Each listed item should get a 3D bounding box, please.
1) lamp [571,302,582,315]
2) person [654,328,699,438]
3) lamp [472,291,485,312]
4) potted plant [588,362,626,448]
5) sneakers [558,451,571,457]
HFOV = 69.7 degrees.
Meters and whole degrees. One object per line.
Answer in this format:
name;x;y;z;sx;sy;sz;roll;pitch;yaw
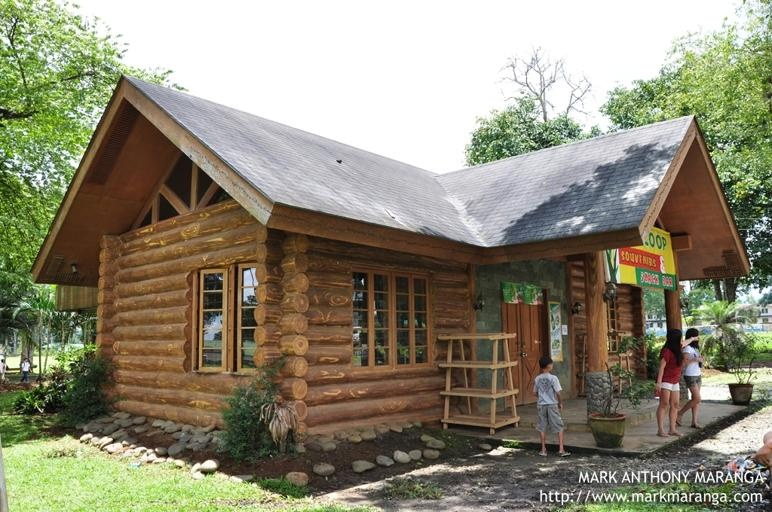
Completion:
lamp;6.076;1.701;17.697;0.436;0.377;0.239;0;4;-45
person;6.666;2.904;12.852;0.735;2.465;1.515;2;5;30
lamp;2.415;1.210;14.573;0.294;0.537;0.577;-5;-6;28
potted plant;4.873;3.439;12.418;0.961;1.569;0.892;6;-14;-23
sneakers;3.768;4.175;11.686;0.249;0.083;0.219;0;3;13
